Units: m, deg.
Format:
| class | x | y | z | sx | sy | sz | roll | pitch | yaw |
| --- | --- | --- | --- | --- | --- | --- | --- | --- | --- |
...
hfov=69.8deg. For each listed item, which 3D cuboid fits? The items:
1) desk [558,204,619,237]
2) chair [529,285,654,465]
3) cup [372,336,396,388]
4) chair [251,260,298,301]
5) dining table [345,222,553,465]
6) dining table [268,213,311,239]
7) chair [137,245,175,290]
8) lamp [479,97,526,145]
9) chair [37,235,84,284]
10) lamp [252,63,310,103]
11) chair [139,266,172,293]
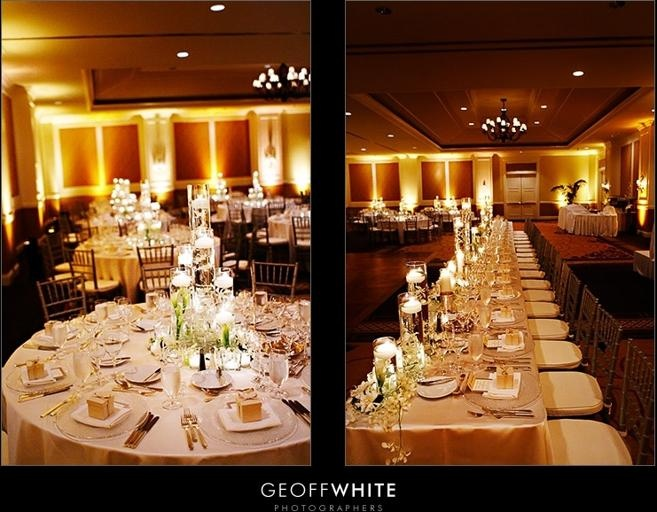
| class | x | y | z | sx | sy | sz | roll | pitch | yaw |
| --- | --- | --- | --- | --- | --- | --- | --- | --- | --- |
| desk | 7.121 | -0.972 | 12.789 | 0.860 | 0.517 | 1.446 | 0 | 2 | 8 |
| chair | 1.831 | 0.826 | 3.330 | 0.598 | 1.082 | 0.609 | 1 | 36 | 17 |
| cup | 0.284 | 0.517 | 2.388 | 0.122 | 0.250 | 0.193 | -2 | 8 | 6 |
| chair | -0.682 | 0.292 | 5.824 | 0.387 | 0.706 | 0.432 | 3 | 18 | 4 |
| dining table | 0.924 | 0.464 | 3.125 | 1.026 | 1.001 | 2.274 | 1 | 9 | 26 |
| dining table | -0.927 | -0.586 | 9.225 | 0.634 | 0.394 | 0.674 | 2 | 11 | 5 |
| chair | -2.088 | 0.149 | 5.633 | 0.385 | 0.729 | 0.457 | 0 | 21 | -8 |
| lamp | 3.551 | -2.723 | 9.533 | 0.830 | 0.951 | 0.880 | 2 | 6 | 33 |
| chair | -3.544 | 0.037 | 6.231 | 0.488 | 0.793 | 0.483 | 1 | 25 | -10 |
| lamp | -0.920 | -3.189 | 8.776 | 0.743 | 0.494 | 0.727 | -15 | 8 | -30 |
| chair | -2.018 | 0.271 | 5.462 | 0.267 | 0.447 | 0.273 | 1 | 9 | -3 |
